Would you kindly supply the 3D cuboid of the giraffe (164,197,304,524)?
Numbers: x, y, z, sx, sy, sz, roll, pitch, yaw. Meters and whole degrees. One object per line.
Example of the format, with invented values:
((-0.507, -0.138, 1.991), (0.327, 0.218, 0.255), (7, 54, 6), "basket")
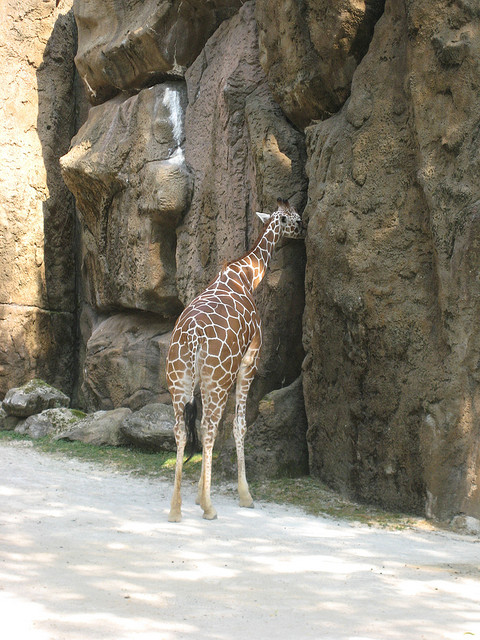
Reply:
((-0.132, 0.291, 12.216), (0.656, 2.587, 1.524), (4, -5, 17), "giraffe")
